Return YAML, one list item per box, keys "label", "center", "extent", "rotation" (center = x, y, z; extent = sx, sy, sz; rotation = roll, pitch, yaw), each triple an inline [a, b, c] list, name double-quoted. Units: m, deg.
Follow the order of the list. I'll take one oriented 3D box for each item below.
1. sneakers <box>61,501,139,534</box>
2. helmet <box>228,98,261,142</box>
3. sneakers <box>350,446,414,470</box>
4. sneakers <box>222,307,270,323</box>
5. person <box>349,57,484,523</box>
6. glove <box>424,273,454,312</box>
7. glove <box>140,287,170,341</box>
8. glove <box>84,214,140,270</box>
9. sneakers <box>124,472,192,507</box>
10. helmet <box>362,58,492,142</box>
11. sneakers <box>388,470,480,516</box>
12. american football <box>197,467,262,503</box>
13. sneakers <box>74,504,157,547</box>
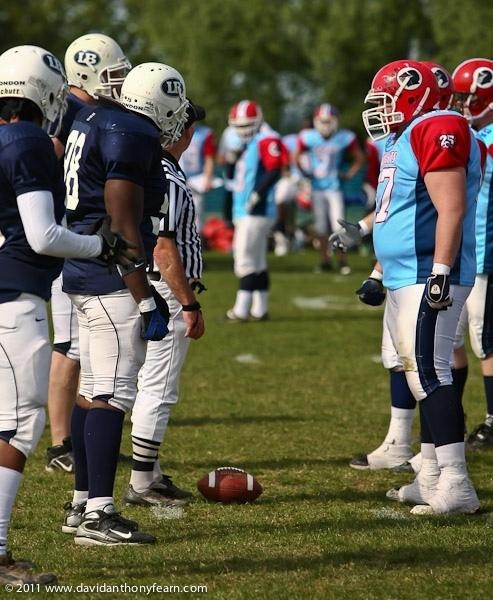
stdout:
- label: "sneakers"
  center: [-0.533, 0.844, 3.825]
  extent: [0.397, 0.127, 0.110]
  rotation: [3, 5, -5]
- label: "helmet"
  center: [-0.006, -1.633, 8.947]
  extent: [0.294, 0.349, 0.382]
  rotation: [2, 7, 1]
- label: "sneakers"
  center: [0.671, 0.777, 4.876]
  extent: [0.357, 0.110, 0.109]
  rotation: [1, -2, 3]
- label: "sneakers"
  center: [0.014, 0.143, 9.479]
  extent: [0.451, 0.138, 0.131]
  rotation: [8, 8, -11]
- label: "person"
  center: [0.782, -0.064, 4.187]
  extent: [0.386, 1.918, 0.621]
  rotation: [-1, 9, -18]
- label: "glove"
  center: [0.762, -0.031, 3.945]
  extent: [0.114, 0.157, 0.155]
  rotation: [3, 8, 9]
- label: "glove"
  center: [-0.343, 0.050, 3.714]
  extent: [0.107, 0.205, 0.228]
  rotation: [2, 7, -4]
- label: "glove"
  center: [-0.452, -0.190, 3.497]
  extent: [0.223, 0.089, 0.166]
  rotation: [27, -31, -18]
- label: "sneakers"
  center: [-0.378, 0.844, 4.312]
  extent: [0.334, 0.111, 0.096]
  rotation: [1, 0, -13]
- label: "helmet"
  center: [0.792, -0.890, 4.409]
  extent: [0.493, 0.343, 0.335]
  rotation: [-6, 9, 3]
- label: "sneakers"
  center: [0.814, 0.814, 4.185]
  extent: [0.409, 0.212, 0.126]
  rotation: [1, -1, 11]
- label: "american football"
  center: [-0.069, 0.811, 4.342]
  extent: [0.260, 0.115, 0.143]
  rotation: [5, -1, 2]
- label: "sneakers"
  center: [-0.501, 0.854, 3.739]
  extent: [0.354, 0.121, 0.118]
  rotation: [3, -8, -8]
